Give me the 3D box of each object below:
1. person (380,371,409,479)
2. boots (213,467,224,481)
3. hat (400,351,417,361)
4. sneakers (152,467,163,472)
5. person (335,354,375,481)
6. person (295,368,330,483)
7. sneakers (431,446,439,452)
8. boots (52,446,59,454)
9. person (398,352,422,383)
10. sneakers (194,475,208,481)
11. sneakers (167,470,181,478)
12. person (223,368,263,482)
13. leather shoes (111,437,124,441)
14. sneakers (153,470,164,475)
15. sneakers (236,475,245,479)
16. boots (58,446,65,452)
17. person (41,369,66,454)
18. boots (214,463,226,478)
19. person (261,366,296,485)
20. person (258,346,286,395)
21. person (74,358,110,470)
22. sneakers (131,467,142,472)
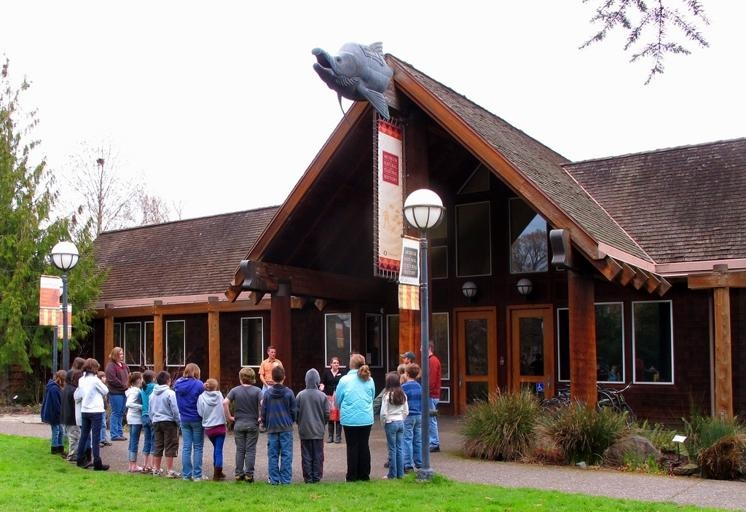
[{"bbox_3d":[0.419,3.304,15.952,0.520,1.991,0.433,1,-11,-8],"label":"person"},{"bbox_3d":[-3.013,4.282,16.121,0.117,0.292,0.342,2,1,7],"label":"boots"},{"bbox_3d":[0.699,2.130,17.167,0.287,0.202,0.224,0,-4,23],"label":"hat"},{"bbox_3d":[-4.314,4.321,16.435,0.087,0.130,0.266,2,-2,21],"label":"sneakers"},{"bbox_3d":[-0.353,3.144,15.987,0.716,2.423,0.366,0,-11,-1],"label":"person"},{"bbox_3d":[-1.194,3.337,16.048,0.625,2.325,0.646,-1,11,-7],"label":"person"},{"bbox_3d":[1.369,4.237,17.949,0.209,0.181,0.076,3,1,26],"label":"sneakers"},{"bbox_3d":[-6.918,4.243,17.870,0.117,0.130,0.166,0,-13,-1],"label":"boots"},{"bbox_3d":[0.737,2.295,17.175,0.495,0.962,0.652,3,-6,-1],"label":"person"},{"bbox_3d":[-3.356,4.375,16.029,0.098,0.137,0.273,8,2,44],"label":"sneakers"},{"bbox_3d":[-3.979,4.367,16.369,0.303,0.157,0.117,4,12,-19],"label":"sneakers"},{"bbox_3d":[-2.540,3.323,16.052,0.691,2.171,0.741,2,-11,-11],"label":"person"},{"bbox_3d":[-6.176,4.450,19.825,0.279,0.138,0.112,-2,-5,0],"label":"leather shoes"},{"bbox_3d":[-4.289,4.336,16.423,0.081,0.119,0.242,4,1,29],"label":"sneakers"},{"bbox_3d":[-2.597,4.312,15.903,0.170,0.095,0.084,-5,-13,17],"label":"sneakers"},{"bbox_3d":[-6.833,4.259,17.997,0.111,0.151,0.124,0,-2,4],"label":"boots"},{"bbox_3d":[-6.899,3.383,17.731,0.497,1.770,1.104,4,-13,-22],"label":"person"},{"bbox_3d":[-3.056,4.258,16.188,0.138,0.344,0.315,2,1,23],"label":"boots"},{"bbox_3d":[-1.822,3.276,15.933,0.666,2.251,0.667,7,-13,-34],"label":"person"},{"bbox_3d":[-2.465,3.088,19.919,0.609,1.728,0.481,0,13,-12],"label":"person"},{"bbox_3d":[-5.842,3.289,17.003,0.686,2.263,0.759,4,-12,-23],"label":"person"},{"bbox_3d":[-4.838,4.360,16.738,0.217,0.130,0.374,3,-14,-16],"label":"sneakers"}]
